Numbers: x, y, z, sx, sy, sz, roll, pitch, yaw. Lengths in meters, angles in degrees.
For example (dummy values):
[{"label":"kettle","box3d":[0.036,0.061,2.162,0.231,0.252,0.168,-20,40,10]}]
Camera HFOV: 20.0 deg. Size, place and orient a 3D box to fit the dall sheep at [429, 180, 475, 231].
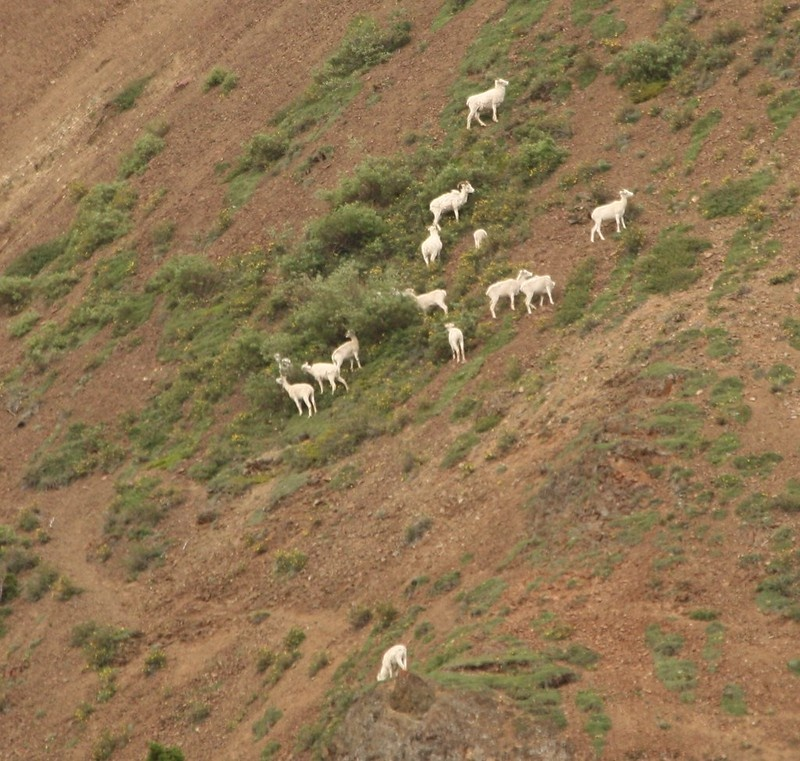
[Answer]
[{"label":"dall sheep","box3d":[1.864,-6.297,80.823,1.779,1.072,1.187,-30,45,4]}]
